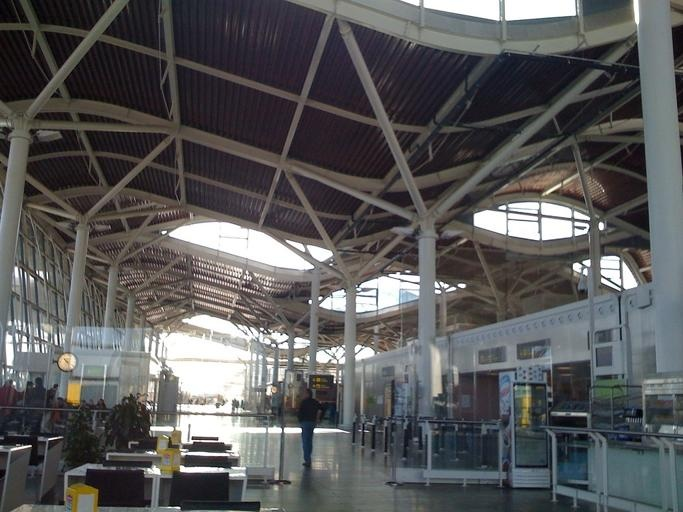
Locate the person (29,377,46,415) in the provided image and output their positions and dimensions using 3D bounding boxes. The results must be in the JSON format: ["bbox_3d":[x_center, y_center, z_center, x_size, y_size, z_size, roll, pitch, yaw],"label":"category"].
[{"bbox_3d":[-8.807,4.205,17.867,0.454,1.392,0.418,1,12,-25],"label":"person"}]
